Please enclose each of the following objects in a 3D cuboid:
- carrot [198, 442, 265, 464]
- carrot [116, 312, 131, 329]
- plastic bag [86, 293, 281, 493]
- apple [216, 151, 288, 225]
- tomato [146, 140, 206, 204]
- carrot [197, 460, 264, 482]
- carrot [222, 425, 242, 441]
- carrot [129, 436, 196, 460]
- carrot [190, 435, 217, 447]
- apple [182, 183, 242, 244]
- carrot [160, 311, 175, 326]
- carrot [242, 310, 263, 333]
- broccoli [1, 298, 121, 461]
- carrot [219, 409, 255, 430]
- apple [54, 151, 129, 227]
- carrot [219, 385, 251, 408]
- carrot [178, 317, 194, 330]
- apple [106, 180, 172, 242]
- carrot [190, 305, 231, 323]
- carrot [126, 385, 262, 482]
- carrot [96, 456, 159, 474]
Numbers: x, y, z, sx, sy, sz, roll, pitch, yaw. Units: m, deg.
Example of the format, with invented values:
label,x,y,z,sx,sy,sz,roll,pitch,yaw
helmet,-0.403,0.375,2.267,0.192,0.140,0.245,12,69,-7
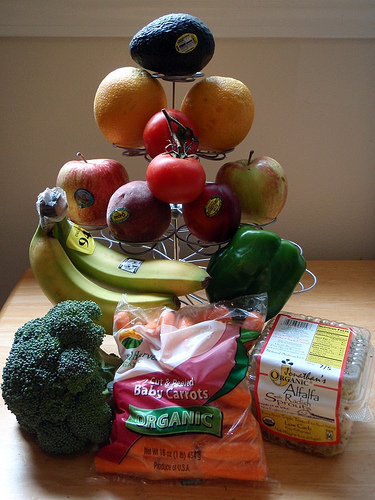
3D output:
label,x,y,z,sx,sy,sz,roll,pitch,yaw
carrot,0.050,0.223,0.517,0.057,0.017,0.029,0,0,-2
carrot,-0.083,0.091,0.603,0.015,0.011,0.019,-15,66,-16
plastic bag,-0.004,0.175,0.549,0.215,0.081,0.198,-1,63,6
apple,0.099,-0.095,0.725,0.113,0.114,0.106,-12,19,-3
tomato,-0.018,-0.103,0.597,0.060,0.067,0.075,-18,31,-42
carrot,0.052,0.237,0.515,0.061,0.018,0.028,3,6,1
carrot,0.049,0.204,0.529,0.026,0.006,0.009,-18,39,-26
carrot,-0.026,0.208,0.534,0.075,0.021,0.014,2,15,3
carrot,0.017,0.213,0.521,0.028,0.005,0.007,-10,37,-17
apple,0.033,-0.049,0.645,0.071,0.087,0.055,-14,40,-21
carrot,-0.025,0.087,0.597,0.022,0.027,0.015,2,17,-5
carrot,0.082,0.094,0.596,0.027,0.024,0.018,11,-8,-1
broccoli,-0.157,0.148,0.567,0.119,0.125,0.142,-4,36,-8
carrot,0.056,0.194,0.534,0.036,0.018,0.013,9,13,-25
apple,-0.145,-0.092,0.726,0.112,0.108,0.106,-12,22,-35
carrot,0.056,0.170,0.538,0.036,0.020,0.012,6,19,-19
carrot,-0.002,0.095,0.611,0.014,0.015,0.013,-10,15,-32
apple,-0.067,-0.050,0.624,0.074,0.073,0.070,-29,46,-35
carrot,0.031,0.084,0.620,0.042,0.013,0.022,-8,-1,31
carrot,0.008,0.203,0.580,0.135,0.112,0.037,-8,-6,-5
carrot,-0.070,0.241,0.522,0.040,0.010,0.037,0,-6,2
